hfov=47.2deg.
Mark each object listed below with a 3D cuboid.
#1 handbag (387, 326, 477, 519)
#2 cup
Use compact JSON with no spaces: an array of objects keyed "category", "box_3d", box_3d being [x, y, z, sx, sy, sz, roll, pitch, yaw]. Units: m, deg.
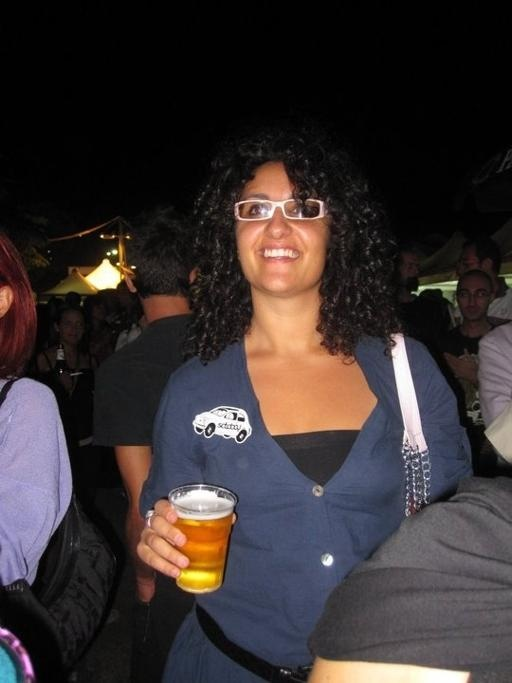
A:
[{"category":"handbag","box_3d":[0.479,0.256,1.811,0.298,0.459,0.498,-1,-6,0]},{"category":"cup","box_3d":[-0.141,0.554,1.633,0.182,0.302,0.196,-2,18,1]}]
